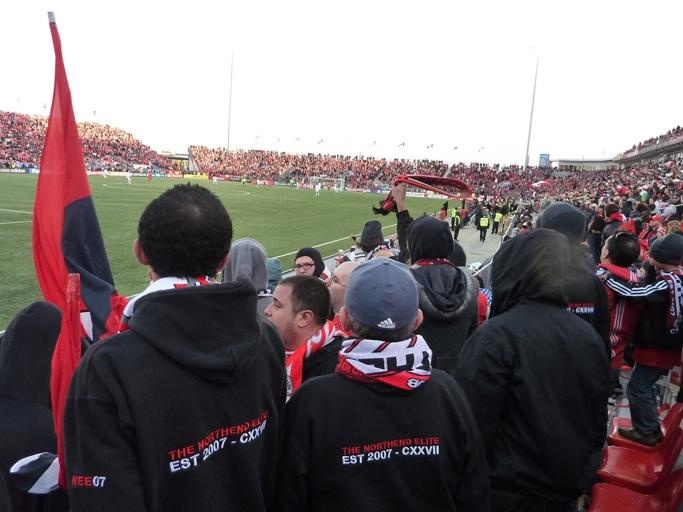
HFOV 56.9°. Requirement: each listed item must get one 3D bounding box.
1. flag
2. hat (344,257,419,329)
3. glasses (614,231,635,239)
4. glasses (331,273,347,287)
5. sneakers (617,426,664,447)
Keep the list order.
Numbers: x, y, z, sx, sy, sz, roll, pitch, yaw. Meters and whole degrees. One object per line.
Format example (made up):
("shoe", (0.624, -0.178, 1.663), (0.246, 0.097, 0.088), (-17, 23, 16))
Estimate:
("flag", (-1.798, -0.470, 4.307), (0.507, 2.276, 0.341), (-2, 11, -27))
("hat", (0.207, 0.172, 3.274), (0.269, 0.218, 0.382), (3, 15, -2))
("glasses", (2.602, -0.201, 5.797), (0.112, 0.049, 0.092), (13, 5, 20))
("glasses", (-0.008, 0.188, 4.973), (0.047, 0.102, 0.095), (6, -4, -13))
("sneakers", (2.485, 1.511, 5.285), (0.114, 0.132, 0.321), (13, -2, -43))
